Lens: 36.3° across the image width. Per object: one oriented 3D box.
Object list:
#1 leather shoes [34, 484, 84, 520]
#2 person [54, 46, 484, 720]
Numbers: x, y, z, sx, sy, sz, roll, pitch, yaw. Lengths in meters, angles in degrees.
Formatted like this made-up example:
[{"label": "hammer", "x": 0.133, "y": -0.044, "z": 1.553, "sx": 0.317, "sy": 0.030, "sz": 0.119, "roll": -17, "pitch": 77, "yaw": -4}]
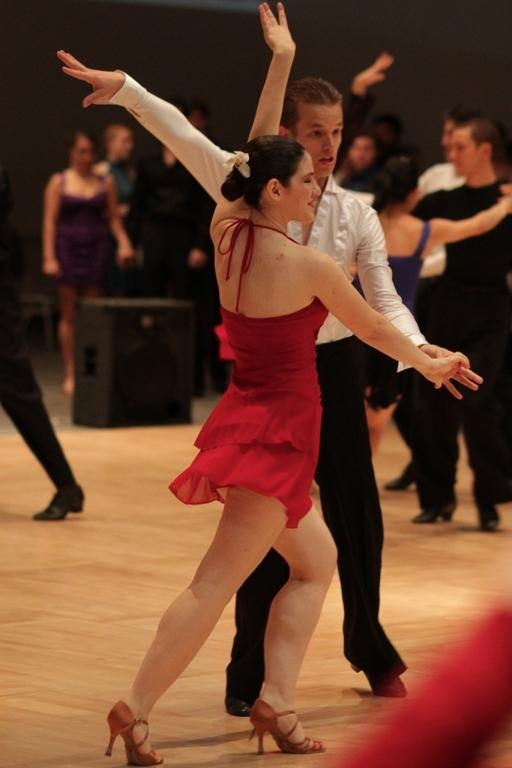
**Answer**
[{"label": "leather shoes", "x": -0.747, "y": 0.440, "z": 2.907, "sx": 0.211, "sy": 0.125, "sz": 0.081, "roll": -9, "pitch": 4, "yaw": -39}, {"label": "person", "x": 0.142, "y": 0.097, "z": 1.919, "sx": 0.710, "sy": 1.591, "sz": 0.944, "roll": 9, "pitch": 25, "yaw": -3}]
